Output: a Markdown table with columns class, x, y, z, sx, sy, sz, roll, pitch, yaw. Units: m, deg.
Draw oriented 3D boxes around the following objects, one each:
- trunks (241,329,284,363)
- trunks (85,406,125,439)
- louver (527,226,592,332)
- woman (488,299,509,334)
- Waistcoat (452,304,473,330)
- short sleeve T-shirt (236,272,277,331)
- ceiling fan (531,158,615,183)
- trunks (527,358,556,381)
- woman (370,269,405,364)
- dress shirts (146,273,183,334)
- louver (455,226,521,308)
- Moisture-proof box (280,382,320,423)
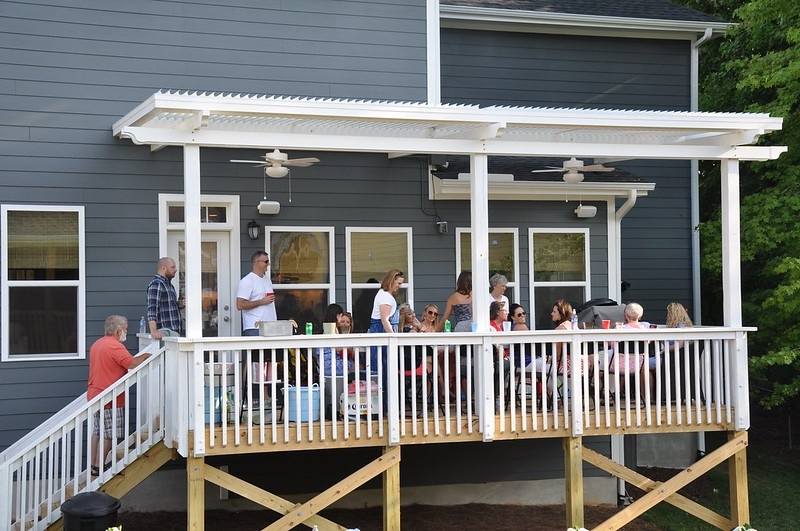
| class | x | y | z | sx | sy | sz | roll | pitch | yaw |
| --- | --- | --- | --- | --- | --- | --- | --- | --- | --- |
| trunks | -2.070 | 1.303 | 19.628 | 0.704 | 0.651 | 0.514 | 1 | 1 | -9 |
| trunks | -4.298 | 2.399 | 19.347 | 0.478 | 0.568 | 0.797 | 5 | -7 | -37 |
| louver | 2.757 | 0.342 | 22.562 | 1.118 | 1.937 | 0.094 | -1 | 7 | -4 |
| woman | 1.501 | 0.792 | 19.727 | 0.401 | 0.611 | 0.399 | -5 | 3 | -7 |
| Waistcoat | 0.981 | 0.810 | 20.265 | 0.386 | 0.467 | 0.278 | 7 | -29 | -10 |
| short sleeve T-shirt | -2.270 | 0.599 | 20.205 | 0.518 | 0.929 | 0.994 | -2 | -2 | 32 |
| ceiling fan | 2.874 | -1.551 | 20.949 | 0.749 | 0.262 | 0.761 | -2 | -5 | 39 |
| trunks | 2.125 | 1.583 | 19.508 | 0.508 | 0.341 | 0.644 | -2 | -6 | 13 |
| woman | -0.213 | 1.007 | 19.819 | 0.560 | 1.795 | 0.623 | -2 | 12 | -15 |
| dress shirts | -3.644 | 0.618 | 19.846 | 0.438 | 0.772 | 0.881 | -6 | -6 | 3 |
| louver | 1.548 | 0.115 | 22.524 | 1.460 | 1.612 | 0.096 | 3 | 12 | 42 |
| Moisture-proof box | -1.461 | 2.061 | 18.970 | 0.624 | 0.565 | 0.597 | -9 | -6 | 11 |
